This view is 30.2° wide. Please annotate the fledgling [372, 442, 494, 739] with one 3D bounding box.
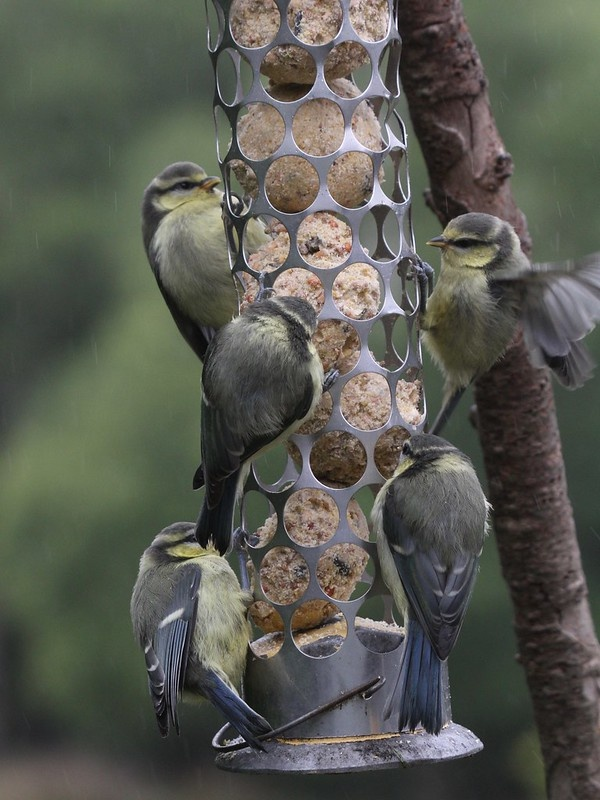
[{"bbox_3d":[0.352,0.549,3.108,0.272,0.332,0.823,6,72,-4],"label":"fledgling"}]
